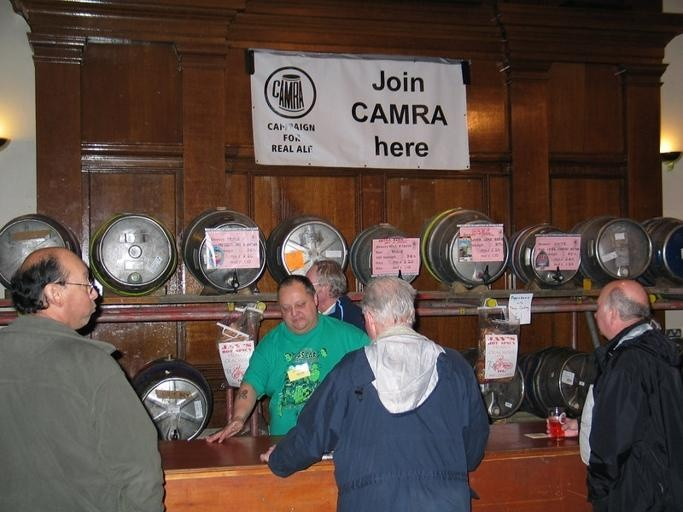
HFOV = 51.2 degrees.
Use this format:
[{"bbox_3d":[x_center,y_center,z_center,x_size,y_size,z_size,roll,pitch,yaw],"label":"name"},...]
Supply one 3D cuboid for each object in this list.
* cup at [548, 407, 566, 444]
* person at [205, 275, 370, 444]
[{"bbox_3d":[1.363,1.058,4.476,0.112,0.220,0.121,1,-2,0],"label":"cup"},{"bbox_3d":[-0.326,0.897,4.589,1.014,1.473,0.556,-6,17,-9],"label":"person"}]
